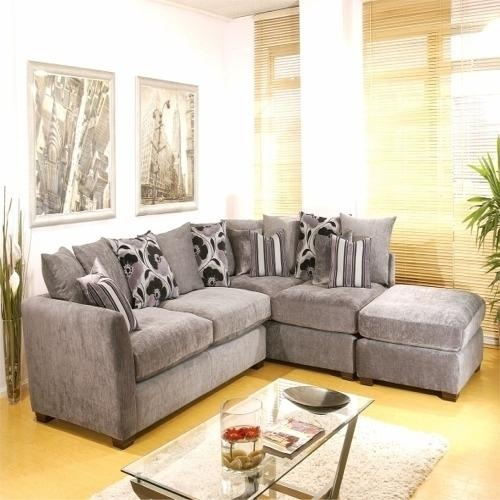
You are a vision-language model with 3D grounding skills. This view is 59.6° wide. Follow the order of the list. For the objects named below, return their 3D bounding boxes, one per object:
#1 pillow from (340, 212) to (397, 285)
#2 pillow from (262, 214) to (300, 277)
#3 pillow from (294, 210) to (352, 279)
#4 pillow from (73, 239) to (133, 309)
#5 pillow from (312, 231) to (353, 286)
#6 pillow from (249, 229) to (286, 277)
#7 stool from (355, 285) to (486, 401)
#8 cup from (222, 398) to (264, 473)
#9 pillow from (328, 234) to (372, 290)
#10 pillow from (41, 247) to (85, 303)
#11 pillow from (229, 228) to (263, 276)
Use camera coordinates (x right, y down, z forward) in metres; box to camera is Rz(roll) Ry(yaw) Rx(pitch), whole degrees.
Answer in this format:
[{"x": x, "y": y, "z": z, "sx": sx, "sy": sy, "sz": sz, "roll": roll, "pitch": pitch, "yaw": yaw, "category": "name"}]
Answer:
[{"x": 1.023, "y": 0.003, "z": 3.791, "sx": 0.548, "sy": 0.760, "sz": 0.263, "roll": -1, "pitch": -13, "yaw": 35, "category": "pillow"}, {"x": 0.283, "y": -0.047, "z": 4.324, "sx": 0.419, "sy": 0.501, "sz": 0.167, "roll": 2, "pitch": -17, "yaw": -23, "category": "pillow"}, {"x": 0.648, "y": -0.024, "z": 3.887, "sx": 0.493, "sy": 0.729, "sz": 0.245, "roll": -3, "pitch": -8, "yaw": 45, "category": "pillow"}, {"x": -0.997, "y": 0.297, "z": 3.005, "sx": 0.117, "sy": 0.444, "sz": 0.444, "roll": -5, "pitch": 10, "yaw": 17, "category": "pillow"}, {"x": 0.702, "y": 0.077, "z": 3.865, "sx": 0.388, "sy": 0.443, "sz": 0.123, "roll": 1, "pitch": -1, "yaw": 41, "category": "pillow"}, {"x": 0.177, "y": 0.061, "z": 4.118, "sx": 0.332, "sy": 0.482, "sz": 0.162, "roll": -1, "pitch": -19, "yaw": -4, "category": "pillow"}, {"x": 1.275, "y": 0.643, "z": 3.165, "sx": 0.679, "sy": 0.602, "sz": 0.704, "roll": 0, "pitch": -2, "yaw": -41, "category": "stool"}, {"x": -0.020, "y": 0.593, "z": 1.440, "sx": 0.156, "sy": 0.294, "sz": 0.168, "roll": 0, "pitch": -1, "yaw": 0, "category": "cup"}, {"x": 0.839, "y": 0.087, "z": 3.703, "sx": 0.320, "sy": 0.486, "sz": 0.159, "roll": 2, "pitch": 25, "yaw": 12, "category": "pillow"}, {"x": -1.162, "y": 0.114, "z": 2.698, "sx": 0.130, "sy": 0.281, "sz": 0.291, "roll": 13, "pitch": 15, "yaw": -5, "category": "pillow"}, {"x": -0.040, "y": 0.037, "z": 4.115, "sx": 0.310, "sy": 0.421, "sz": 0.147, "roll": -4, "pitch": -9, "yaw": -7, "category": "pillow"}]
